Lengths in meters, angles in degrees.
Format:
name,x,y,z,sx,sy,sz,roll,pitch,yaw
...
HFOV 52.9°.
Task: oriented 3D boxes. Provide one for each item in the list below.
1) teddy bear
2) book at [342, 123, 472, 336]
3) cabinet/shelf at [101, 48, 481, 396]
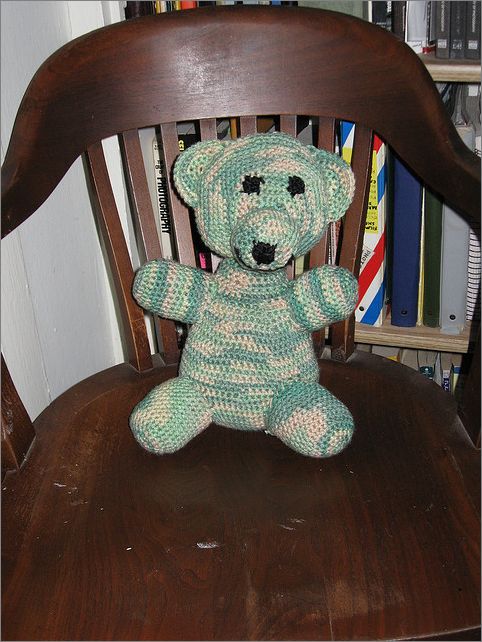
name,x,y,z,sx,sy,sz,roll,pitch,yaw
teddy bear,0.006,-0.026,0.516,0.224,0.329,0.186,4,21,2
book,0.349,-0.300,1.261,0.348,0.576,0.355,3,35,9
cabinet/shelf,0.076,-0.153,0.811,0.422,0.591,0.398,-4,35,-2
